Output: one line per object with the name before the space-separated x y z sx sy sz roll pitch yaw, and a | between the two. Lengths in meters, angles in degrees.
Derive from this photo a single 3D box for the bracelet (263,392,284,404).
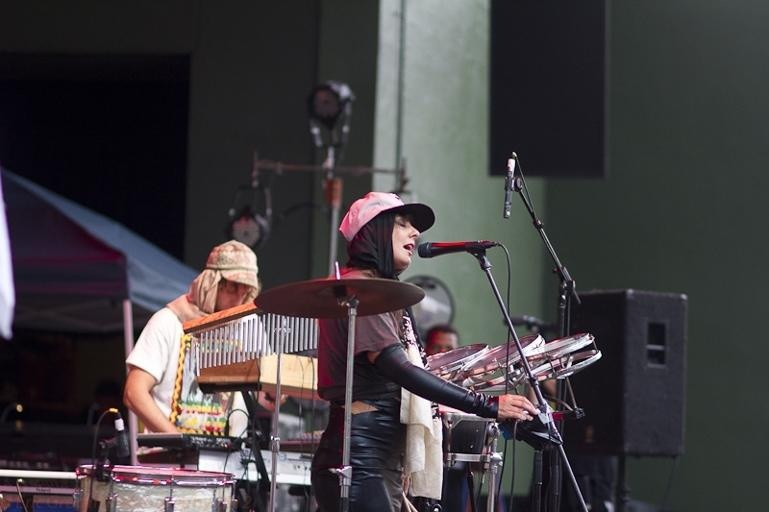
bracelet | -1.134 1.453 14.720 0.232 0.112 0.535 0 -10 -4

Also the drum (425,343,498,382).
drum | 0.712 1.049 14.346 0.466 0.413 0.542 -1 2 -34

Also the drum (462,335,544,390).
drum | 1.170 1.069 14.403 0.704 0.583 0.618 -1 -1 11

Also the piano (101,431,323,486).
piano | -1.635 2.038 14.540 0.964 0.239 0.875 9 -10 -13

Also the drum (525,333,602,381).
drum | 1.733 1.074 14.157 0.518 0.190 0.516 -24 9 4

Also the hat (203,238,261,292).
hat | -1.579 0.097 14.980 0.410 0.359 0.555 13 -1 -41
